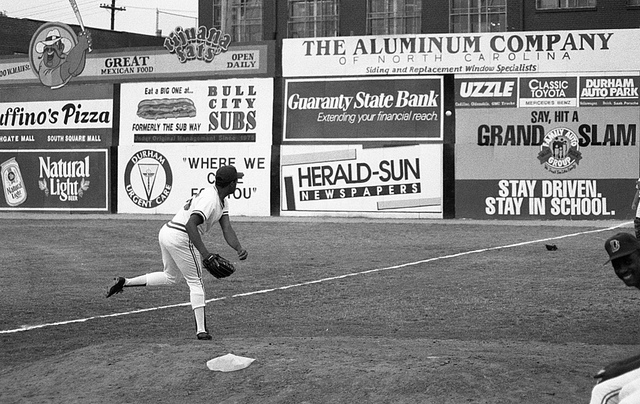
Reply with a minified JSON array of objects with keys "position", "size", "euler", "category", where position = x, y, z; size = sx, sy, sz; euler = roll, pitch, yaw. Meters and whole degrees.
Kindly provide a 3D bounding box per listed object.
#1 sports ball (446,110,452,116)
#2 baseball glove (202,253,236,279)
[{"position":[5.568,-3.968,41.062],"size":[0.243,0.242,0.104],"euler":[1,11,4],"category":"sports ball"},{"position":[-2.385,1.475,22.347],"size":[0.709,0.292,0.518],"euler":[24,-15,30],"category":"baseball glove"}]
